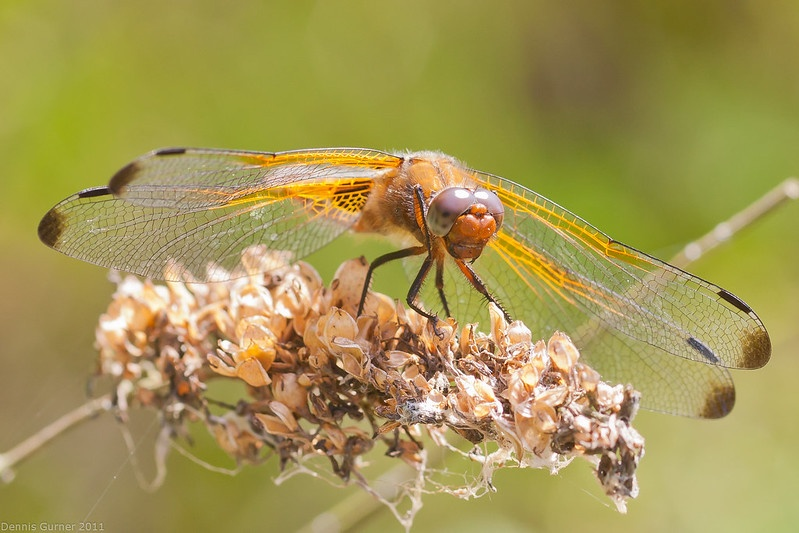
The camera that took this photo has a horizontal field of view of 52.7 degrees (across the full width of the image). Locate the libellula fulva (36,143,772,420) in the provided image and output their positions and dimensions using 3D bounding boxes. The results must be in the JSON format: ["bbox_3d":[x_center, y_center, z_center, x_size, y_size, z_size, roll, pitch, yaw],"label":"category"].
[{"bbox_3d":[0.100,-0.092,4.542,3.176,1.019,1.500,17,2,-8],"label":"libellula fulva"}]
